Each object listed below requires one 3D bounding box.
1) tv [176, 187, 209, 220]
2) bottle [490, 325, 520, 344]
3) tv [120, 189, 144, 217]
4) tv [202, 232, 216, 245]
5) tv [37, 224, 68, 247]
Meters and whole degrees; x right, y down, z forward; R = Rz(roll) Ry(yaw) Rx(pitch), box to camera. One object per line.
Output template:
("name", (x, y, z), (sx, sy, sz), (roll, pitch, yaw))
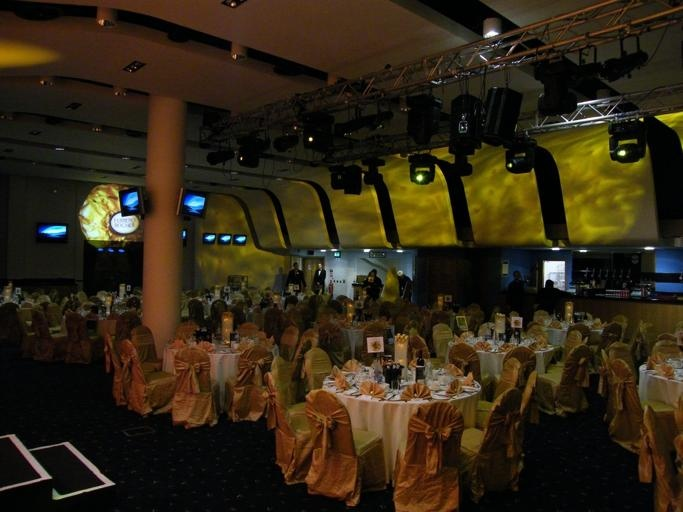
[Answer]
("tv", (-2.949, -1.088, 10.399), (0.319, 0.579, 0.754), (-3, 0, 22))
("bottle", (2.912, 1.381, 9.160), (0.404, 0.440, 0.252), (-2, 4, 3))
("tv", (-3.980, -1.051, 9.891), (0.576, 0.471, 0.080), (1, 3, 43))
("tv", (-5.959, -0.765, 23.541), (0.728, 0.769, 0.387), (1, -1, -36))
("tv", (-10.481, -0.809, 18.746), (0.763, 0.611, 0.106), (1, -2, -42))
